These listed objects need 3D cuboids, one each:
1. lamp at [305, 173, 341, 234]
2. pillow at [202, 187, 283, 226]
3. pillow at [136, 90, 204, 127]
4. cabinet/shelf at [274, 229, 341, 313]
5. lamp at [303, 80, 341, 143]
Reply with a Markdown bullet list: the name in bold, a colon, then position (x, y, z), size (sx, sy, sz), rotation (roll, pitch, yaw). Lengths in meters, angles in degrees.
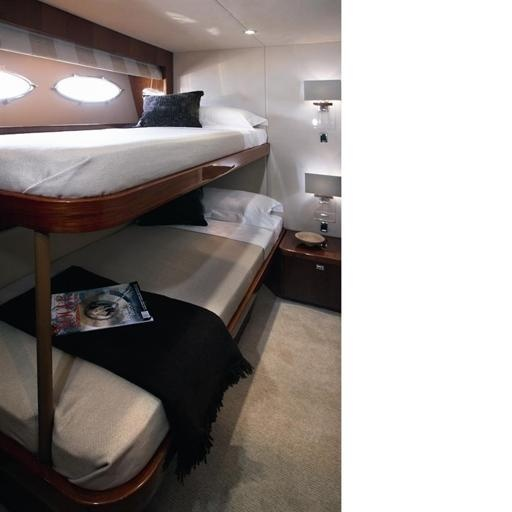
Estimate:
- **lamp**: position (0.435, -0.334, 2.828), size (0.206, 0.391, 0.089), rotation (2, 6, 14)
- **pillow**: position (-0.109, -0.324, 2.875), size (0.420, 0.116, 0.284), rotation (13, 37, 8)
- **pillow**: position (-0.501, -0.852, 2.589), size (0.374, 0.196, 0.217), rotation (-3, 19, -7)
- **cabinet/shelf**: position (0.330, 0.037, 2.708), size (0.373, 0.319, 0.398), rotation (7, 25, 15)
- **lamp**: position (0.385, -0.842, 2.556), size (0.181, 0.336, 0.076), rotation (1, 13, 11)
